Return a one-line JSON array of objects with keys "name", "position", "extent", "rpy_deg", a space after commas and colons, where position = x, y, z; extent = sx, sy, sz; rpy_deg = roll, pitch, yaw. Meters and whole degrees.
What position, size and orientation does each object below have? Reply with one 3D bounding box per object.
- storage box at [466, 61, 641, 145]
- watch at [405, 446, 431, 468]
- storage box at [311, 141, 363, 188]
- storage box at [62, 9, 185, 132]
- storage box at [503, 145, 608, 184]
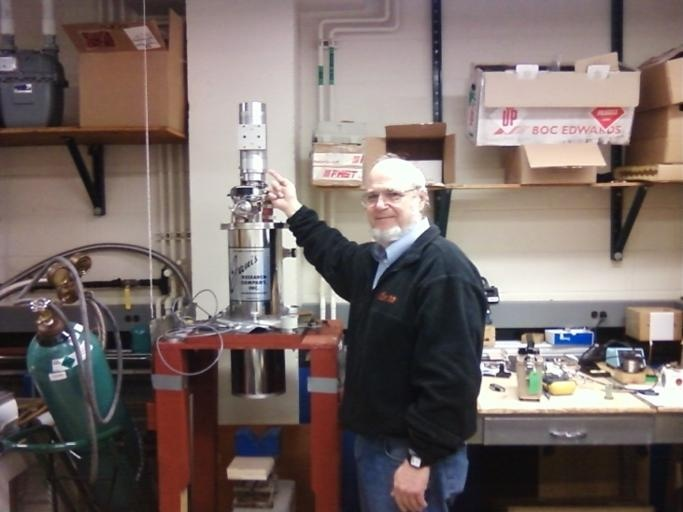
[{"name": "storage box", "position": [1.074, -0.822, 3.966], "extent": [0.869, 0.426, 0.583], "rpy_deg": [-3, 20, -11]}, {"name": "watch", "position": [0.287, 0.760, 2.854], "extent": [0.067, 0.068, 0.018], "rpy_deg": [-45, -7, 23]}, {"name": "storage box", "position": [0.016, -0.492, 3.854], "extent": [0.158, 0.240, 0.276], "rpy_deg": [-27, 20, -31]}, {"name": "storage box", "position": [-1.021, -0.849, 3.733], "extent": [0.550, 0.630, 0.569], "rpy_deg": [-1, -2, 2]}, {"name": "storage box", "position": [1.063, -0.468, 3.828], "extent": [0.520, 0.207, 0.278], "rpy_deg": [2, 7, 21]}]
